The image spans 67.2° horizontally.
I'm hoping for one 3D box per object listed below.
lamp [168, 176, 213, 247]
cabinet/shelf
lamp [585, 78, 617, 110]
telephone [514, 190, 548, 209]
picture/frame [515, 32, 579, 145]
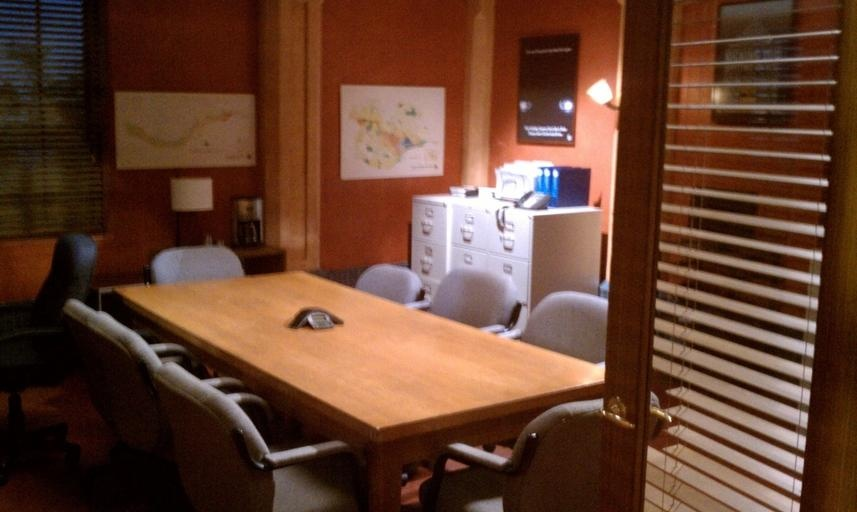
[{"bbox_3d":[-2.031,-0.369,5.523,0.321,0.618,0.487,-5,15,-22],"label":"lamp"},{"bbox_3d":[0.466,-0.206,6.109,1.206,0.799,0.679,8,30,14],"label":"cabinet/shelf"},{"bbox_3d":[1.453,-1.357,5.408,0.222,0.254,0.759,4,13,15],"label":"lamp"},{"bbox_3d":[0.892,-0.474,5.584,0.239,0.126,0.193,-6,15,-27],"label":"telephone"},{"bbox_3d":[1.128,-1.575,6.165,0.020,0.991,0.752,-10,17,-37],"label":"picture/frame"}]
